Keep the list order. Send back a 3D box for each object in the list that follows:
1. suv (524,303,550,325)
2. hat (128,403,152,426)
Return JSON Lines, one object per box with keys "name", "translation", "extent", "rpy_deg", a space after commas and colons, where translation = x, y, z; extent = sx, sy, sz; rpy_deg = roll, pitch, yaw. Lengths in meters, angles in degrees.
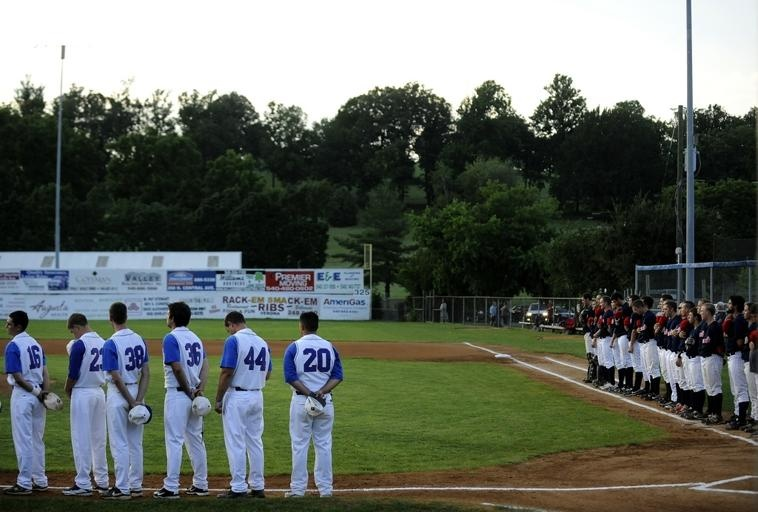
{"name": "suv", "translation": [10.466, 3.856, 86.318], "extent": [1.258, 1.164, 2.751], "rpy_deg": [-1, -7, 5]}
{"name": "hat", "translation": [-9.974, 6.595, 54.014], "extent": [0.904, 0.837, 0.328], "rpy_deg": [1, -4, -14]}
